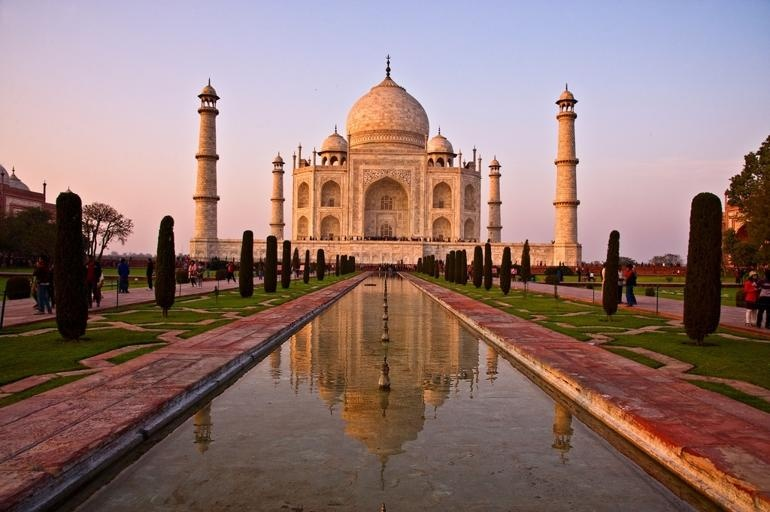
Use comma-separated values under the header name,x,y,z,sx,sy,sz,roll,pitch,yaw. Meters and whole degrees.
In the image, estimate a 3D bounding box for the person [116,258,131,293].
name,x,y,z,sx,sy,sz,roll,pitch,yaw
person,-7.541,0.625,18.481,0.281,0.997,1.306,-3,11,-23

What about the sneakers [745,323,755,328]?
name,x,y,z,sx,sy,sz,roll,pitch,yaw
sneakers,6.616,1.262,11.644,0.102,0.048,0.135,0,1,13

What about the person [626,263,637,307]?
name,x,y,z,sx,sy,sz,roll,pitch,yaw
person,6.038,0.746,15.776,0.278,1.026,1.037,5,11,21
